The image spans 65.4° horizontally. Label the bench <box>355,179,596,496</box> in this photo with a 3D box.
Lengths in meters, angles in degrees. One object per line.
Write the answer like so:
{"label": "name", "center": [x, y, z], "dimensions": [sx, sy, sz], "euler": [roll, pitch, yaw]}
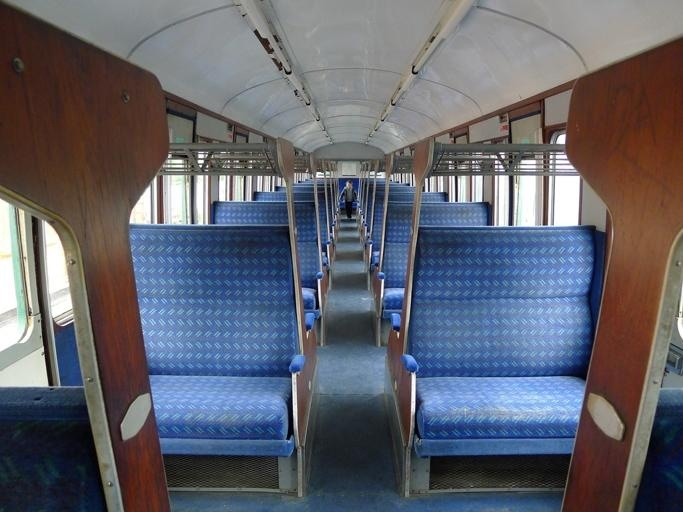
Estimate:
{"label": "bench", "center": [1.120, 0.701, 4.322], "dimensions": [2.233, 2.318, 1.726], "euler": [0, 1, 2]}
